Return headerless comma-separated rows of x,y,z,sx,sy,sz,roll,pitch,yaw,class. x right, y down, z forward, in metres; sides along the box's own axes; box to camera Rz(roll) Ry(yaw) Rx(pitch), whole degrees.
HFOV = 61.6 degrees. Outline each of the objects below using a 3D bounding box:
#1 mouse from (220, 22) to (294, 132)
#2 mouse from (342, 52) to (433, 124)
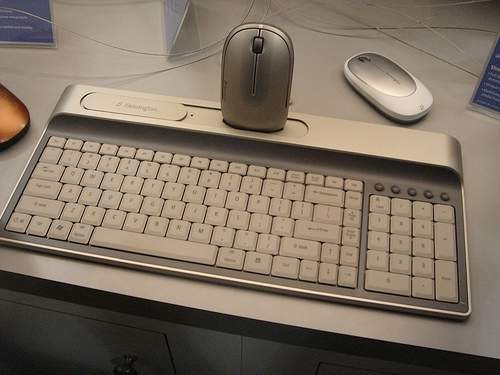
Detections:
0.009,-0.165,0.646,0.108,0.134,0.114,6,-12,3,mouse
0.248,-0.168,0.792,0.171,0.095,0.040,41,-24,27,mouse
